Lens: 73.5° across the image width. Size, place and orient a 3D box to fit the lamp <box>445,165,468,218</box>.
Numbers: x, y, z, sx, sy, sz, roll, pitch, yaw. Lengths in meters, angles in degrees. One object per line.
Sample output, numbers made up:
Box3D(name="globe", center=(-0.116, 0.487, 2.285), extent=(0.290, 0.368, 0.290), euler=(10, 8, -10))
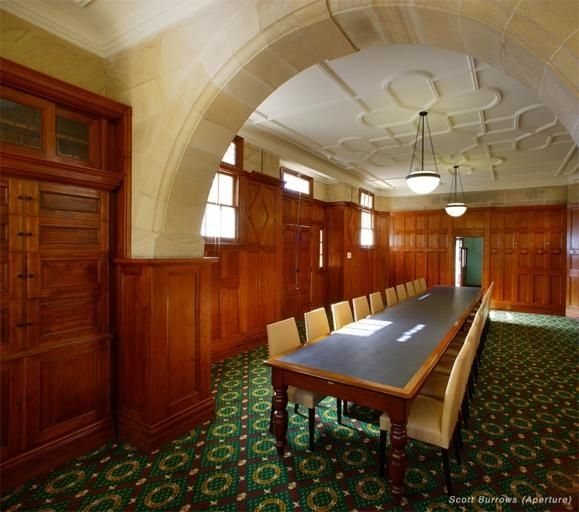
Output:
Box3D(name="lamp", center=(3.367, -1.324, 7.825), extent=(0.628, 0.970, 0.612), euler=(-1, 9, 13))
